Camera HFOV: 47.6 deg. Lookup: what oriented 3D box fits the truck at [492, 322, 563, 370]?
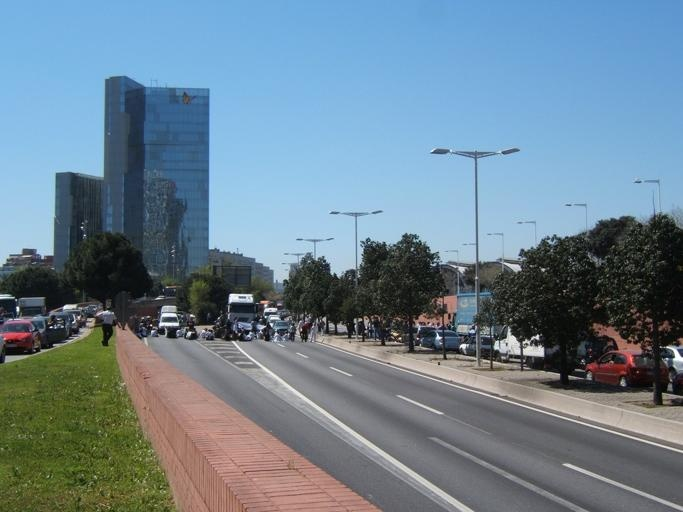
[{"bbox_3d":[9.362,5.751,42.223,2.024,2.538,5.221,1,-4,-15],"label":"truck"}]
